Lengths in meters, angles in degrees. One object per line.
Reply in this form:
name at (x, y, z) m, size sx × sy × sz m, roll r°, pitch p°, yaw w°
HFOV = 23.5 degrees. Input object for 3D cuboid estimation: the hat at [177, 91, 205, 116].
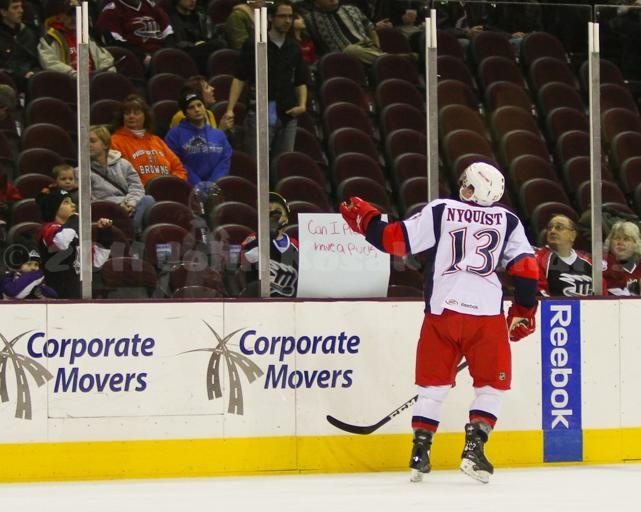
hat at (-0.838, -0.969, 9.786) m, size 0.104 × 0.123 × 0.137 m, roll -3°, pitch 33°, yaw -9°

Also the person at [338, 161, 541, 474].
person at (0.798, 0.390, 9.408) m, size 1.071 × 1.913 × 0.586 m, roll -1°, pitch 4°, yaw -3°

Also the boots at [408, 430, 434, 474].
boots at (0.605, 1.188, 9.323) m, size 0.161 × 0.252 × 0.253 m, roll 1°, pitch -18°, yaw 11°

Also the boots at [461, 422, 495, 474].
boots at (0.933, 1.177, 9.286) m, size 0.183 × 0.352 × 0.243 m, roll 0°, pitch 4°, yaw 5°

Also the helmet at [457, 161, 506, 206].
helmet at (0.968, -0.465, 9.516) m, size 0.222 × 0.264 × 0.283 m, roll -15°, pitch 42°, yaw -36°

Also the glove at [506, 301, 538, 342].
glove at (1.246, 0.411, 9.612) m, size 0.222 × 0.218 × 0.098 m, roll 23°, pitch 9°, yaw 2°

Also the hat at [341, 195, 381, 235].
hat at (0.228, -0.273, 9.518) m, size 0.253 × 0.202 × 0.114 m, roll 37°, pitch 34°, yaw 20°
